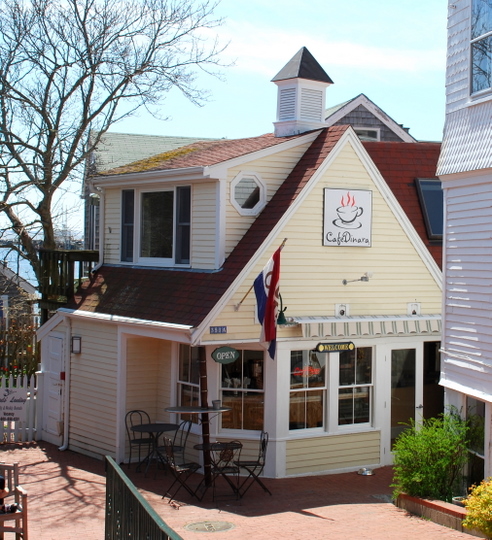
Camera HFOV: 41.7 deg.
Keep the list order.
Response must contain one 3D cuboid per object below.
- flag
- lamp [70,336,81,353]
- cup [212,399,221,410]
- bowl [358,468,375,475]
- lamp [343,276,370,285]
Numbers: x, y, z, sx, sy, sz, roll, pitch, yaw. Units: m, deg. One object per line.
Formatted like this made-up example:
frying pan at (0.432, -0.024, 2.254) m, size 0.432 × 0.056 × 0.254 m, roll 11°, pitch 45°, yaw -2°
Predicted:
flag at (0.390, 0.568, 11.780) m, size 0.518 × 2.038 × 0.397 m, roll -5°, pitch -8°, yaw 35°
lamp at (-4.124, 1.851, 15.772) m, size 0.163 × 0.439 × 0.347 m, roll 4°, pitch -7°, yaw -37°
cup at (-0.550, 2.546, 12.205) m, size 0.138 × 0.156 × 0.338 m, roll 0°, pitch -5°, yaw 0°
bowl at (2.514, 4.264, 13.635) m, size 0.317 × 0.082 × 0.374 m, roll -2°, pitch -5°, yaw 13°
lamp at (2.404, 0.224, 14.149) m, size 0.574 × 0.203 × 0.161 m, roll -11°, pitch 7°, yaw -26°
